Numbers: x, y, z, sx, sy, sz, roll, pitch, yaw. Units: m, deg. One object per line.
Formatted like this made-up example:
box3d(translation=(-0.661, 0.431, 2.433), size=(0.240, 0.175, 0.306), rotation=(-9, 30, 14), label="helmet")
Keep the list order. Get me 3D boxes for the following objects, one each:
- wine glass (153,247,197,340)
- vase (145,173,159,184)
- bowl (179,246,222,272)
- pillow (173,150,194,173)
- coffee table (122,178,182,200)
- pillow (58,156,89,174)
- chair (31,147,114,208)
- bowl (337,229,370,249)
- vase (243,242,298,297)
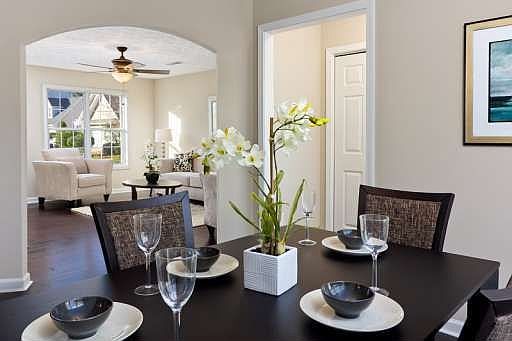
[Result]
box3d(translation=(-0.276, 0.422, 1.193), size=(0.129, 0.332, 0.226), rotation=(-4, 12, -16), label="wine glass")
box3d(translation=(-1.965, 0.137, 6.353), size=(0.221, 0.142, 0.221), rotation=(1, -8, -23), label="vase")
box3d(translation=(-0.263, 0.440, 1.605), size=(0.171, 0.073, 0.174), rotation=(-4, -4, 0), label="bowl")
box3d(translation=(-1.715, -0.216, 8.001), size=(0.569, 0.515, 0.191), rotation=(-3, -16, 29), label="pillow")
box3d(translation=(-1.960, 0.264, 6.320), size=(0.872, 0.398, 0.874), rotation=(-1, 4, -15), label="coffee table")
box3d(translation=(-3.882, -0.148, 7.342), size=(0.167, 0.422, 0.418), rotation=(-12, -2, 32), label="pillow")
box3d(translation=(-3.954, 0.120, 7.365), size=(1.335, 1.324, 1.401), rotation=(1, 1, 29), label="chair")
box3d(translation=(0.509, 0.362, 1.765), size=(0.157, 0.066, 0.158), rotation=(0, 0, 0), label="bowl")
box3d(translation=(0.058, 0.438, 1.525), size=(0.196, 0.181, 0.197), rotation=(2, 4, 38), label="vase")
